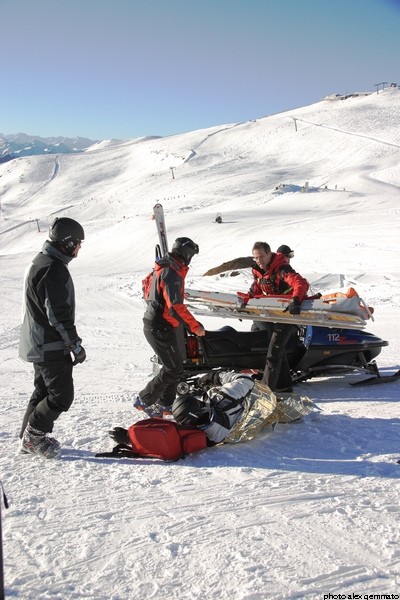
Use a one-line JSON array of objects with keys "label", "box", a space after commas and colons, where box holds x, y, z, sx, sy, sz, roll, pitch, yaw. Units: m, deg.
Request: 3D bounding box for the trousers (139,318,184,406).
[{"label": "trousers", "box": [-0.358, 0.550, 4.949, 0.438, 0.885, 0.443, 2, 12, -3]}]

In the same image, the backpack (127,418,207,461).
[{"label": "backpack", "box": [-0.229, 1.006, 3.852, 0.414, 0.183, 0.316, 2, 1, 19]}]

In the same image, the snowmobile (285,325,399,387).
[{"label": "snowmobile", "box": [1.593, 0.670, 6.099, 1.028, 0.540, 1.022, -5, 13, -26]}]

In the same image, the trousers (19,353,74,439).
[{"label": "trousers", "box": [-1.147, 0.717, 3.928, 0.442, 0.648, 0.296, -1, 6, 0]}]

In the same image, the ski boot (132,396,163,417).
[{"label": "ski boot", "box": [-0.464, 1.029, 5.002, 0.358, 0.141, 0.114, 26, 20, -13]}]

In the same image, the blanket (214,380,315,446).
[{"label": "blanket", "box": [0.541, 0.858, 4.295, 0.199, 0.439, 1.066, 4, 7, 42]}]

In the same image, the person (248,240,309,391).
[{"label": "person", "box": [0.878, 0.108, 5.798, 0.559, 1.510, 1.493, -1, 5, 5]}]

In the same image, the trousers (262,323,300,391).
[{"label": "trousers", "box": [0.705, 0.535, 5.265, 0.426, 0.611, 0.359, -2, 17, -14]}]
